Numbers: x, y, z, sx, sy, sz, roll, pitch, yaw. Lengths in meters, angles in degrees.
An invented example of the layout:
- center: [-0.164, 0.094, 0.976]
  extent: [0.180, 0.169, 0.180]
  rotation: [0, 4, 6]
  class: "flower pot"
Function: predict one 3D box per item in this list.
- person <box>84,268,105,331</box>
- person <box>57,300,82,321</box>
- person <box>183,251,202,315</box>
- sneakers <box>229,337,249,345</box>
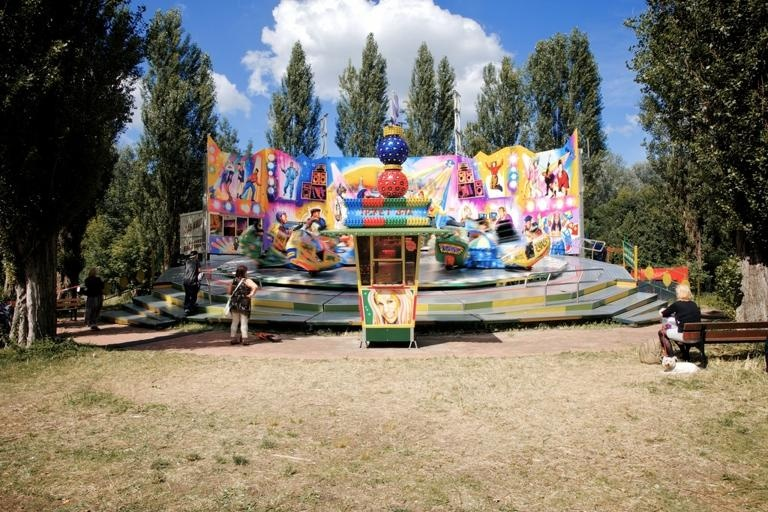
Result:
- center: [-9.808, 1.491, 20.249]
  extent: [0.604, 2.008, 1.539]
  rotation: [-5, 11, -27]
  class: "person"
- center: [-12.161, 2.116, 23.036]
  extent: [0.787, 0.561, 0.311]
  rotation: [4, -9, -13]
  class: "person"
- center: [-6.605, 0.900, 20.540]
  extent: [0.565, 2.137, 0.641]
  rotation: [-4, 10, -20]
  class: "person"
- center: [-4.205, 2.485, 17.372]
  extent: [0.604, 0.278, 0.229]
  rotation: [-6, -9, 37]
  class: "sneakers"
